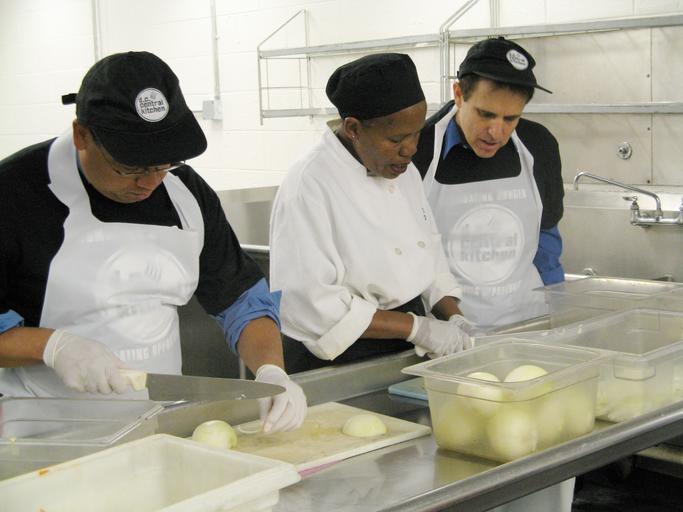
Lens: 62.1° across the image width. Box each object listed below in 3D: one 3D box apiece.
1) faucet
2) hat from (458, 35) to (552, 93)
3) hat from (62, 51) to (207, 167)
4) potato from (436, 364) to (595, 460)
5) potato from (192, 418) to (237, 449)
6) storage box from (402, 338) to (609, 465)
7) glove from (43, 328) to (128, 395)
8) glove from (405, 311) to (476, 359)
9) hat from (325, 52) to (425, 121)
[{"bbox_3d":[1.327,-0.310,2.772,0.362,0.201,0.488,0,8,22],"label":"faucet"},{"bbox_3d":[0.512,-0.615,1.789,0.245,0.179,0.325,0,16,-20],"label":"hat"},{"bbox_3d":[-0.403,-0.312,1.139,0.236,0.177,0.329,-16,37,-31],"label":"hat"},{"bbox_3d":[0.327,0.263,1.032,0.210,0.093,0.164,-7,8,-44],"label":"potato"},{"bbox_3d":[-0.240,0.324,1.057,0.058,0.046,0.059,-3,-2,-5],"label":"potato"},{"bbox_3d":[0.331,0.216,1.052,0.266,0.126,0.217,-8,7,-43],"label":"storage box"},{"bbox_3d":[-0.493,0.212,1.098,0.177,0.115,0.074,0,8,24],"label":"glove"},{"bbox_3d":[0.275,0.229,1.596,0.169,0.114,0.069,-2,12,-8],"label":"glove"},{"bbox_3d":[0.113,-0.506,1.565,0.152,0.107,0.198,-31,20,-21],"label":"hat"}]
